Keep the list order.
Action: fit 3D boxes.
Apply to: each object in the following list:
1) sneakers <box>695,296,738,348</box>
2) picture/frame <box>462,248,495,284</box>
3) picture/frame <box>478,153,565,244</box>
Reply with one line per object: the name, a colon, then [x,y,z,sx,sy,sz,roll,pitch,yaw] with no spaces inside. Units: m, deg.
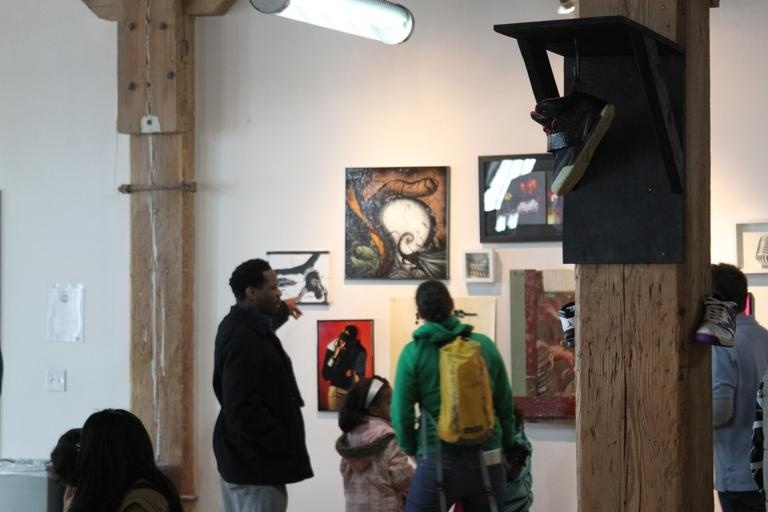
sneakers: [1.726,0.348,4.458,0.126,0.160,0.359,3,-14,28]
picture/frame: [0.704,0.064,6.269,0.240,0.293,0.056,0,0,12]
picture/frame: [0.998,-0.405,6.078,0.635,0.586,0.056,0,2,6]
